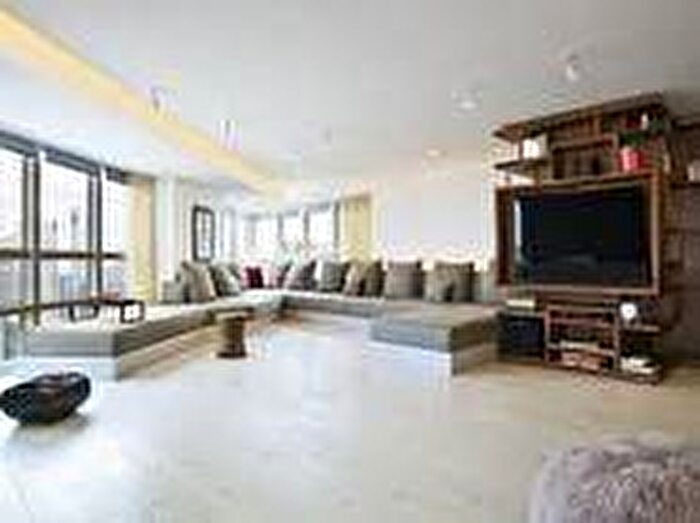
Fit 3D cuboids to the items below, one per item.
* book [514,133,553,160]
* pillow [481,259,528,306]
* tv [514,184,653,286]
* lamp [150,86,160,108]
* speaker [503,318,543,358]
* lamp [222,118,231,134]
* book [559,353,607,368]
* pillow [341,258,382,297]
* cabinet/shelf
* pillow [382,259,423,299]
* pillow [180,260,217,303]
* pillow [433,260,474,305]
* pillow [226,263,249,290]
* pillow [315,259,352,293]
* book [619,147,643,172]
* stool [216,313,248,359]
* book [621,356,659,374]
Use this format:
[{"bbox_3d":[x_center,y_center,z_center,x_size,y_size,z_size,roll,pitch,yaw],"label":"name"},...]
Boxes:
[{"bbox_3d":[1.917,-1.211,5.047,0.207,0.366,0.375,-1,2,-35],"label":"book"},{"bbox_3d":[1.952,0.271,6.200,0.208,0.520,0.500,1,-1,-3],"label":"pillow"},{"bbox_3d":[2.281,-0.236,4.763,0.427,0.984,1.190,-10,7,-44],"label":"tv"},{"bbox_3d":[-1.807,-1.543,4.529,0.116,0.158,0.111,0,0,39],"label":"lamp"},{"bbox_3d":[1.793,0.761,4.911,0.285,0.348,0.375,5,-5,-44],"label":"speaker"},{"bbox_3d":[-1.357,-1.500,5.395,0.085,0.142,0.605,-3,11,-14],"label":"lamp"},{"bbox_3d":[2.182,0.909,4.525,0.397,0.116,0.182,5,12,21],"label":"book"},{"bbox_3d":[0.194,0.260,7.576,0.604,0.592,0.348,-2,-2,32],"label":"pillow"},{"bbox_3d":[2.239,-0.169,4.749,1.500,2.370,0.641,0,-1,41],"label":"cabinet/shelf"},{"bbox_3d":[0.756,0.274,7.166,0.624,0.544,0.324,2,4,41],"label":"pillow"},{"bbox_3d":[-2.054,0.289,6.534,0.202,0.391,0.538,-8,-6,14],"label":"pillow"},{"bbox_3d":[1.363,0.284,6.673,0.336,0.585,0.661,-8,5,-38],"label":"pillow"},{"bbox_3d":[-1.846,0.235,8.150,0.161,0.404,0.398,-17,-1,14],"label":"pillow"},{"bbox_3d":[-0.283,0.243,7.975,0.596,0.534,0.328,1,5,35],"label":"pillow"},{"bbox_3d":[2.526,-0.934,4.385,0.184,0.208,0.105,6,13,27],"label":"book"},{"bbox_3d":[-1.251,0.782,5.149,0.329,0.447,0.322,-1,-2,11],"label":"stool"},{"bbox_3d":[2.538,0.912,4.284,0.199,0.048,0.181,-2,0,-41],"label":"book"}]
